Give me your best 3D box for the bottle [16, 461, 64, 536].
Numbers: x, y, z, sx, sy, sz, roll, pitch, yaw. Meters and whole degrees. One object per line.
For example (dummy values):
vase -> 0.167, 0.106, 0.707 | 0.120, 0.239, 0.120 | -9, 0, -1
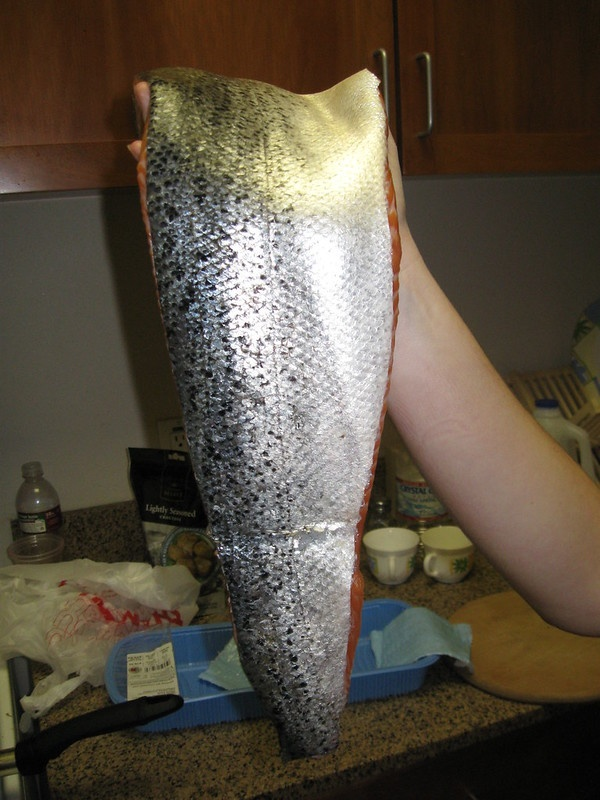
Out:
bottle -> -0.457, 0.171, 1.292 | 0.074, 0.129, 0.090 | -9, 13, -19

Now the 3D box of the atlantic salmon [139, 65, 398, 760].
atlantic salmon -> -0.010, -0.006, 0.386 | 0.129, 0.333, 0.081 | -4, -1, 2

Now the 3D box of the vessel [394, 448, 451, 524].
vessel -> 0.231, 0.178, 1.520 | 0.103, 0.150, 0.070 | 3, 14, 32
